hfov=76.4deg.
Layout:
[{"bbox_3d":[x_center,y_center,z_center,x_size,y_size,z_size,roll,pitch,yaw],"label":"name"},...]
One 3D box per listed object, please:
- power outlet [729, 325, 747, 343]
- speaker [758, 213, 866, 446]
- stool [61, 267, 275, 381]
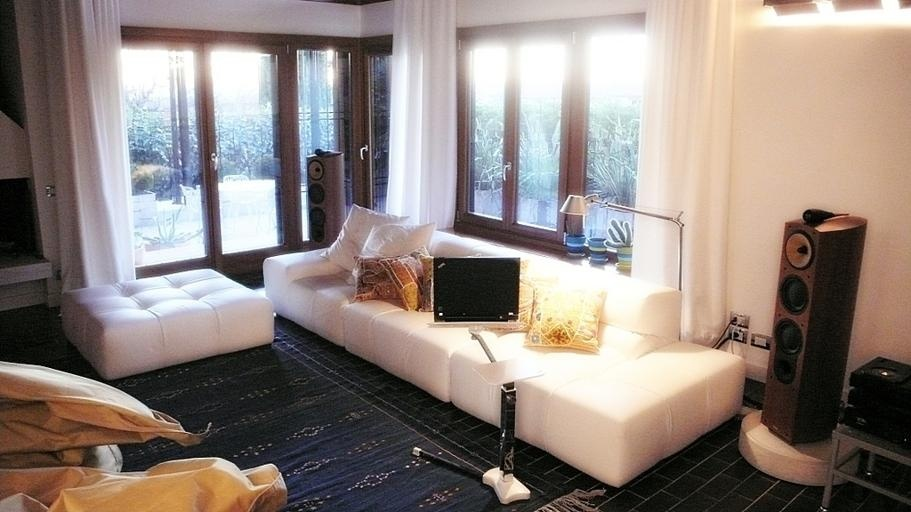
[{"bbox_3d":[2.723,0.749,5.593,0.166,0.142,0.090,14,21,42],"label":"power outlet"},{"bbox_3d":[2.868,0.554,4.656,0.791,1.830,0.530,-10,18,-28],"label":"speaker"},{"bbox_3d":[-3.042,0.480,5.994,1.405,0.437,1.247,-7,14,-35],"label":"stool"}]
